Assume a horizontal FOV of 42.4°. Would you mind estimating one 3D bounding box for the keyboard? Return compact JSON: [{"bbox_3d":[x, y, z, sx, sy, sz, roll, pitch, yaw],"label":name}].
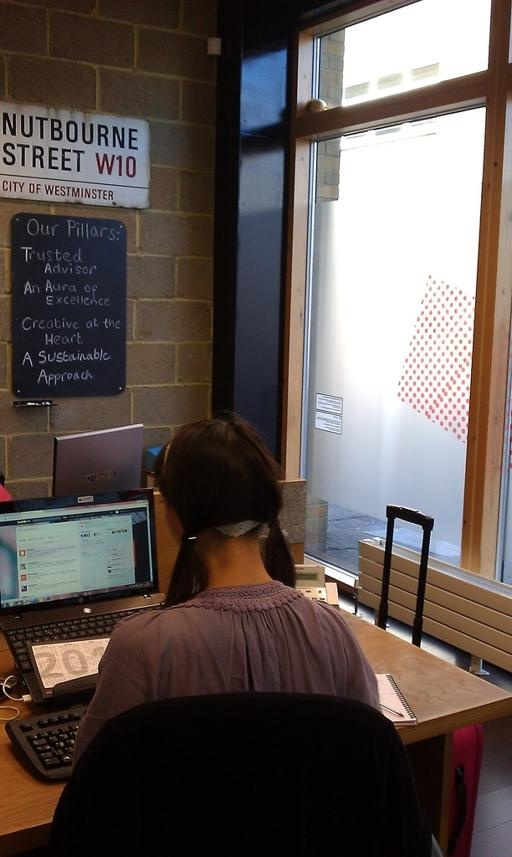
[{"bbox_3d":[-0.346,0.526,1.113,0.146,0.050,0.200,-2,12,-27],"label":"keyboard"}]
